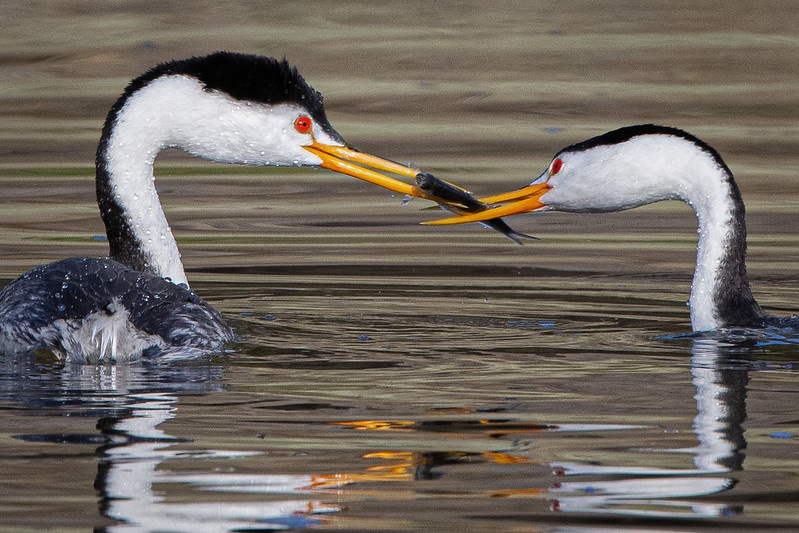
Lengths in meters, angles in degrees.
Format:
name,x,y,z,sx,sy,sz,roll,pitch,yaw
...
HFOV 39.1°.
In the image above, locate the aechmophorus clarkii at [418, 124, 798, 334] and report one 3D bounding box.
name,x,y,z,sx,sy,sz,roll,pitch,yaw
aechmophorus clarkii,2.105,-0.312,9.407,1.863,1.804,0.554,-5,16,30
